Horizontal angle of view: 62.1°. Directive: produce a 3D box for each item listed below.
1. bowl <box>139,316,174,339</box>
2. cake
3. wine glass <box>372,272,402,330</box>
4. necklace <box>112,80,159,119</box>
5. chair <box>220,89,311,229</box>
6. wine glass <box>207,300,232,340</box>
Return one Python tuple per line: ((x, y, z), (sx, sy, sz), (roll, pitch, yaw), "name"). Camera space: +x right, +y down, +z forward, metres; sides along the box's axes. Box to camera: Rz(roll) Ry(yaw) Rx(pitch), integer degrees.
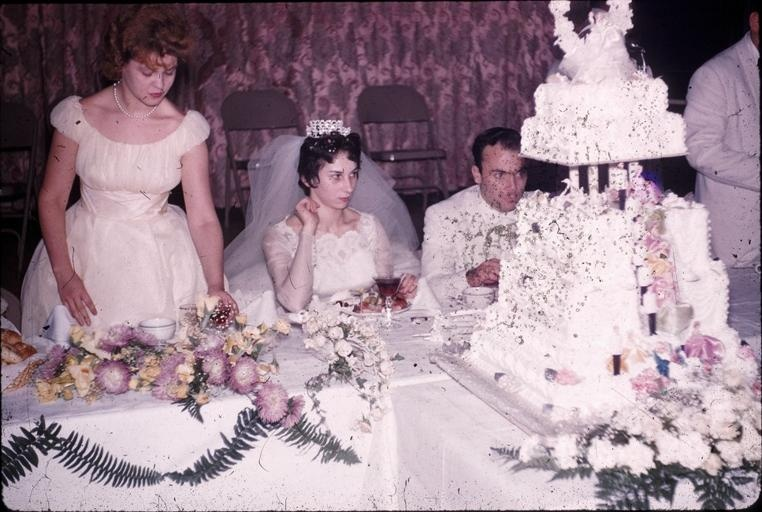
((-0.798, 0.253, 2.291), (0.087, 0.059, 0.084), (1, 0, 0), "bowl")
((0.787, -0.192, 2.216), (0.860, 1.378, 0.558), (-2, 8, -22), "cake")
((0.030, 0.200, 2.692), (0.132, 0.317, 0.132), (-4, -35, 5), "wine glass")
((-1.092, -0.686, 2.850), (0.195, 0.156, 0.053), (-1, 8, -14), "necklace")
((-1.071, -0.874, 6.009), (0.724, 1.188, 0.692), (-4, -2, -3), "chair")
((-0.553, 0.217, 2.213), (0.082, 0.104, 0.033), (28, -23, -24), "wine glass")
